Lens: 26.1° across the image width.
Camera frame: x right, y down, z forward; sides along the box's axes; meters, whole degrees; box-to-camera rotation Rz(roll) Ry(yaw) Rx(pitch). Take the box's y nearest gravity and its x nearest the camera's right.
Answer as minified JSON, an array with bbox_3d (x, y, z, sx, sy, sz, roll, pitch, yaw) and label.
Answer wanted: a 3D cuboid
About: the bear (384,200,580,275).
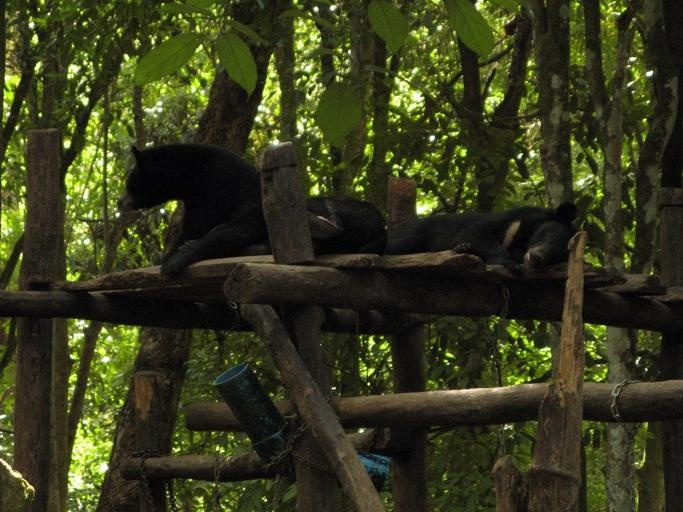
[{"bbox_3d":[1.109,-0.187,14.374,2.405,0.825,0.679,0,0,17],"label":"bear"}]
